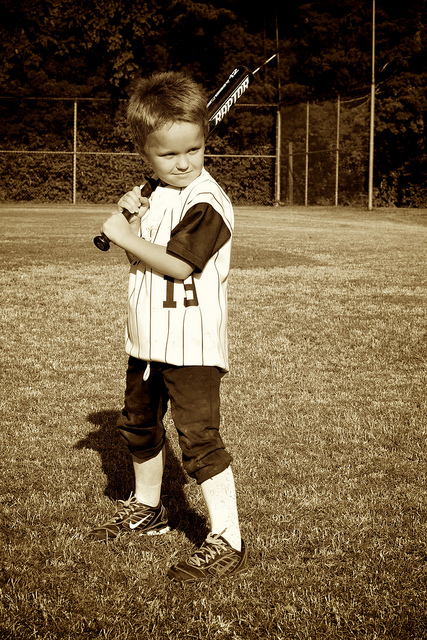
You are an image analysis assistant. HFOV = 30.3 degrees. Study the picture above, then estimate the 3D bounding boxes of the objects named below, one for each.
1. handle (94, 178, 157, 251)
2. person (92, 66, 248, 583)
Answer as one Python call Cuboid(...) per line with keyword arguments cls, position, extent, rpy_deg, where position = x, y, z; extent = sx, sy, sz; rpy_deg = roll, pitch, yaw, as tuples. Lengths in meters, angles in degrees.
Cuboid(cls="handle", position=(-0.254, -0.284, 2.110), extent=(0.162, 0.204, 0.298), rpy_deg=(3, 7, 14))
Cuboid(cls="person", position=(-0.122, 0.003, 2.032), extent=(0.305, 1.278, 0.424), rpy_deg=(-3, 7, -36))
